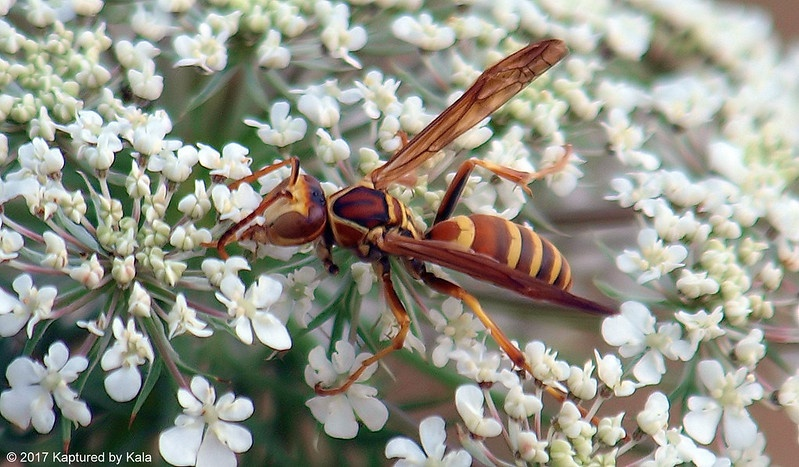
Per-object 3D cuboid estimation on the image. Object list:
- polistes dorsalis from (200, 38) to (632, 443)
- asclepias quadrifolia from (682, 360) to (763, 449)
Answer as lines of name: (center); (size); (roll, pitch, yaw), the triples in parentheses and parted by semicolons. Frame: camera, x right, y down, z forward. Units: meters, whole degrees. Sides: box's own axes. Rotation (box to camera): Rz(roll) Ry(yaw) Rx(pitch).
polistes dorsalis: (0.085, -0.084, 2.627); (1.028, 1.025, 0.658); (26, 25, -11)
asclepias quadrifolia: (0.888, 0.449, 2.578); (0.239, 0.238, 0.093); (2, -2, -8)
